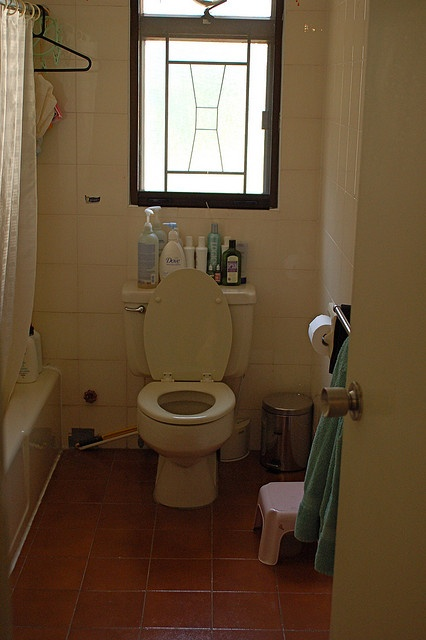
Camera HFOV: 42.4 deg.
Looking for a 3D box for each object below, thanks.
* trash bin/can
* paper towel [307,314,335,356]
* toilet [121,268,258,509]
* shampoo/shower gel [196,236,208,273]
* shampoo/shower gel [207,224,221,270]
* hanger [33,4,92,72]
[{"bbox_3d":[0.348,0.520,2.718,0.244,0.359,0.321,5,16,19],"label":"trash bin/can"},{"bbox_3d":[0.349,0.045,1.790,0.126,0.132,0.159,-1,6,7],"label":"paper towel"},{"bbox_3d":[-0.105,0.246,2.482,0.661,1.155,0.896,0,13,-1],"label":"toilet"},{"bbox_3d":[-0.051,-0.307,2.582,0.053,0.166,0.036,0,12,-2],"label":"shampoo/shower gel"},{"bbox_3d":[0.004,-0.334,2.597,0.067,0.240,0.057,-2,12,-12],"label":"shampoo/shower gel"},{"bbox_3d":[-0.612,-1.193,2.342,0.286,0.294,0.178,1,12,1],"label":"hanger"}]
